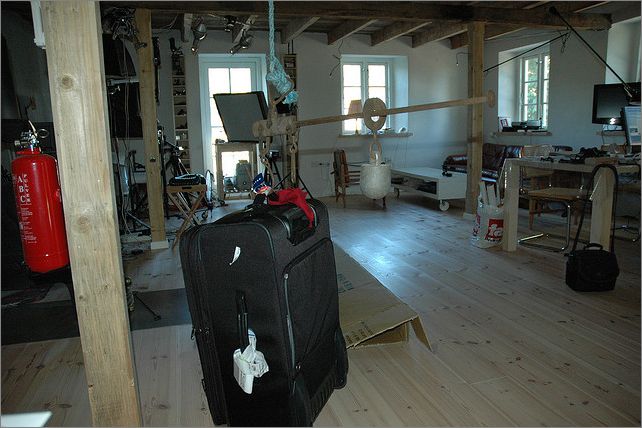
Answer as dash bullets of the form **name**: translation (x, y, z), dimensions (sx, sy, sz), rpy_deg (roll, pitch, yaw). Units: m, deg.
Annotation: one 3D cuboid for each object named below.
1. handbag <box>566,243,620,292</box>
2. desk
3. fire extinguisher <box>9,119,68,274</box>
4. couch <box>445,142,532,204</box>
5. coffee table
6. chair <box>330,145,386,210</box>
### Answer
- **handbag**: translation (2.503, 0.471, 4.074), dimensions (0.384, 0.461, 0.226), rpy_deg (-3, 12, -1)
- **desk**: translation (2.605, -0.164, 4.853), dimensions (1.066, 1.055, 1.084), rpy_deg (1, 8, 3)
- **fire extinguisher**: translation (-1.923, -0.003, 3.021), dimensions (0.285, 0.787, 0.251), rpy_deg (-8, 13, -23)
- **couch**: translation (3.067, -0.851, 8.267), dimensions (0.782, 0.910, 1.314), rpy_deg (-9, 17, -36)
- **coffee table**: translation (1.864, -0.440, 7.552), dimensions (0.655, 0.602, 1.550), rpy_deg (-7, 12, -18)
- **chair**: translation (0.470, -0.706, 8.133), dimensions (0.487, 0.945, 1.348), rpy_deg (-3, 11, 2)
